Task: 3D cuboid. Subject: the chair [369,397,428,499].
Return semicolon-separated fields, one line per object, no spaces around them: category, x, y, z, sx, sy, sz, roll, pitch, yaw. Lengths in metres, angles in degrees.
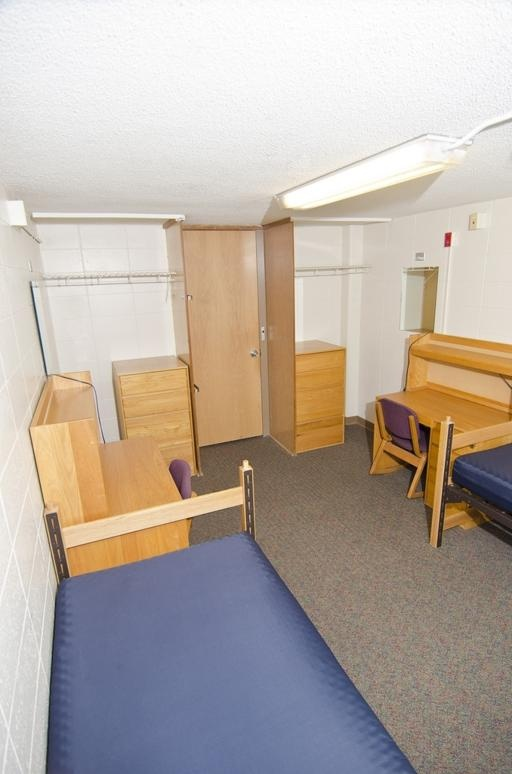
chair;1.119;0.483;3.803;0.444;0.711;0.388;-18;29;-28

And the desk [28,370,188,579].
desk;-0.690;0.389;2.310;0.364;0.601;0.703;-8;20;-13
